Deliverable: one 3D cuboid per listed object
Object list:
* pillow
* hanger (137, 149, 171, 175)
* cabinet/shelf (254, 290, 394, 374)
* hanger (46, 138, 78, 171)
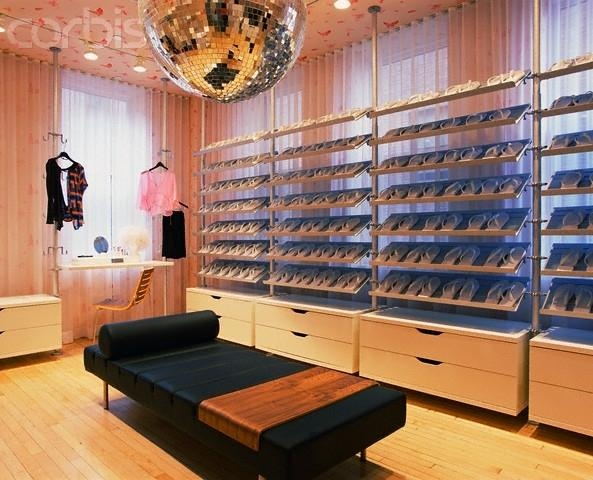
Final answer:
[{"bbox_3d":[-1.014,0.712,3.858,1.040,0.307,0.307,-4,8,-38],"label":"pillow"},{"bbox_3d":[-1.770,-0.959,6.062,0.435,0.428,0.020,-1,3,-41],"label":"hanger"},{"bbox_3d":[0.109,0.801,4.309,0.557,0.433,1.078,2,-1,-45],"label":"cabinet/shelf"},{"bbox_3d":[-2.535,-0.915,5.305,0.080,0.261,0.470,3,2,44],"label":"hanger"}]
